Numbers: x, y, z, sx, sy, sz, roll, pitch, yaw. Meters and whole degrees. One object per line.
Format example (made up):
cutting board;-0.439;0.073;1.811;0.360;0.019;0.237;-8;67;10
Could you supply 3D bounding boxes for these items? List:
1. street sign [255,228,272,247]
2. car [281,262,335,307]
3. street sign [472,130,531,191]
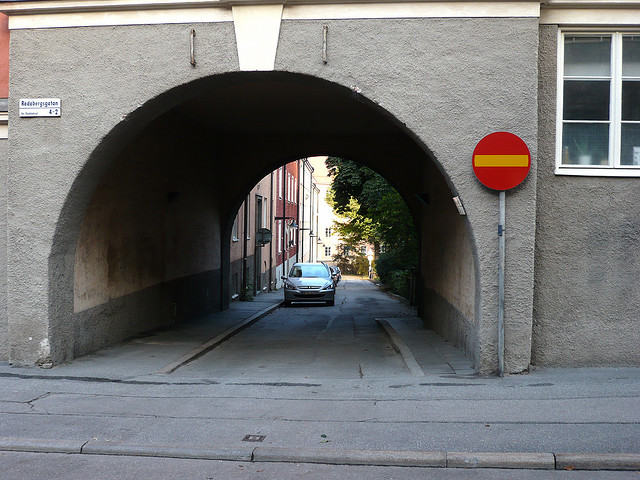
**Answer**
street sign;-2.241;-0.139;25.882;0.569;0.746;0.679;1;-5;-4
car;-0.482;1.809;25.932;1.384;1.096;2.798;-1;-9;1
street sign;2.695;-1.173;9.655;0.849;0.968;0.128;0;0;3
